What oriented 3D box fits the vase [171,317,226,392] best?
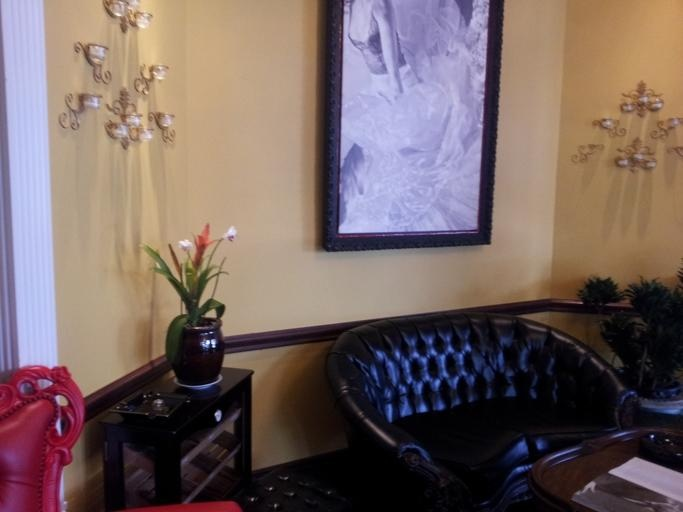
[{"bbox_3d":[-0.660,0.463,2.587,0.247,0.348,0.281,0,-2,1],"label":"vase"}]

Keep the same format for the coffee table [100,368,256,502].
[{"bbox_3d":[-0.744,0.787,2.458,0.258,0.564,0.646,1,4,16],"label":"coffee table"}]

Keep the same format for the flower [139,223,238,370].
[{"bbox_3d":[-0.735,0.232,2.683,0.438,0.664,0.551,0,3,42],"label":"flower"}]
